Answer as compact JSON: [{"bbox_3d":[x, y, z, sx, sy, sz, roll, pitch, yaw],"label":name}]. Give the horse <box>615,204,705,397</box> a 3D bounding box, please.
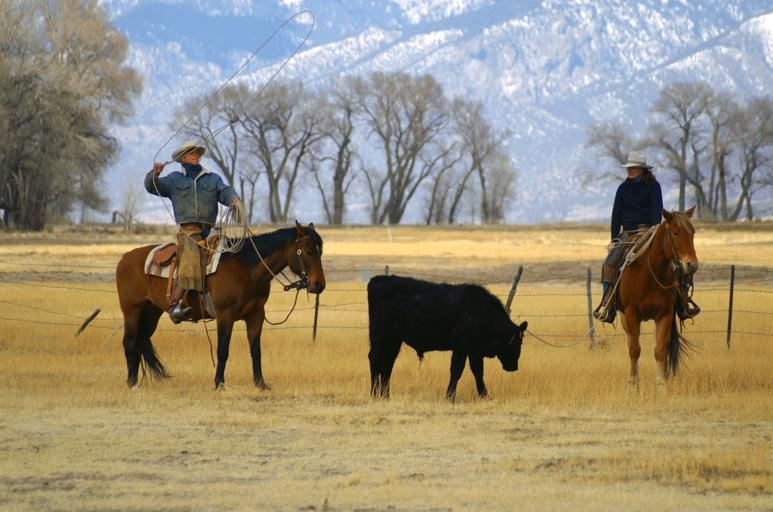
[{"bbox_3d":[11.059,2.198,72.691,2.550,7.183,9.782,-1,-5,-4],"label":"horse"}]
